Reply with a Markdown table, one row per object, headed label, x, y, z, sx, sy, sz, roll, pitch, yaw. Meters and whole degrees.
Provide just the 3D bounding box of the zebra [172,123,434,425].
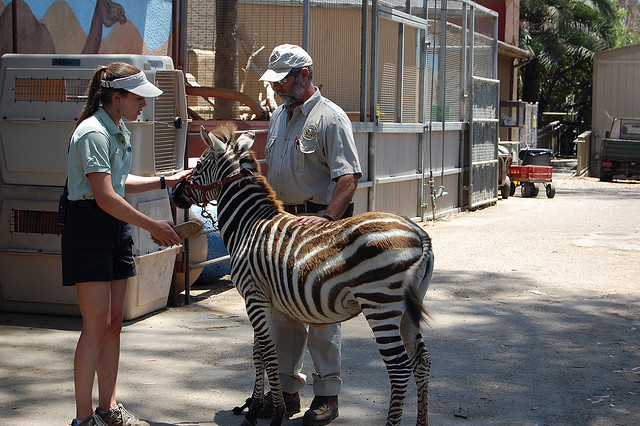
| label | x | y | z | sx | sy | sz | roll | pitch | yaw |
| --- | --- | --- | --- | --- | --- | --- | --- | --- | --- |
| zebra | -0.329 | 0.726 | 6.972 | 2.675 | 2.964 | 0.848 | 4 | 8 | 28 |
